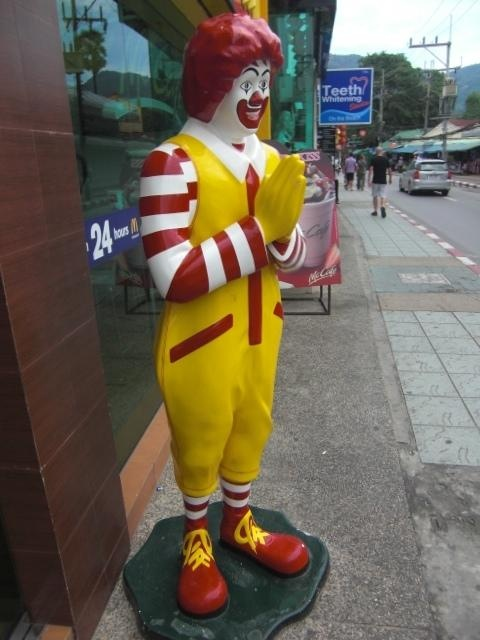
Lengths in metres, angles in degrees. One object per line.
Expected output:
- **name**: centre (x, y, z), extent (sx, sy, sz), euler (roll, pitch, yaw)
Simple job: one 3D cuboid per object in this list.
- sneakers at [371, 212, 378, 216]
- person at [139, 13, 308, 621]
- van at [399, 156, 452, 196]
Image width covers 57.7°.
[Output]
- **sneakers**: centre (4.273, -3.340, 13.701), extent (0.107, 0.135, 0.303), euler (1, 12, 4)
- **person**: centre (-0.029, 0.061, 1.505), extent (0.627, 2.050, 0.434), euler (-7, 14, -28)
- **van**: centre (9.261, -7.074, 21.800), extent (1.736, 1.560, 3.371), euler (2, 33, 7)
